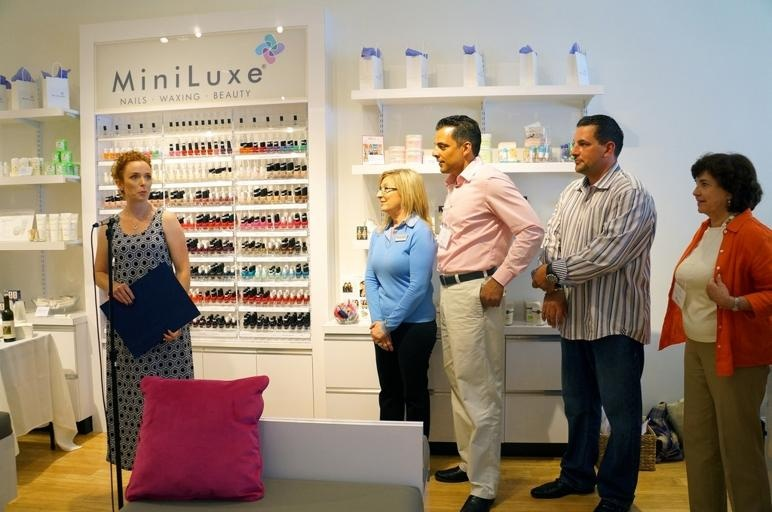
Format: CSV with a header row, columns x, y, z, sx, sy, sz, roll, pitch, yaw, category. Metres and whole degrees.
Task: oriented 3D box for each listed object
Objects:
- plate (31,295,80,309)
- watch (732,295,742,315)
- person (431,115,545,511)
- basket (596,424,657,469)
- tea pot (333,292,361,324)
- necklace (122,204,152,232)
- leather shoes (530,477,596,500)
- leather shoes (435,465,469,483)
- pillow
x,y,z,sx,sy,sz,roll,pitch,yaw,category
-3.061,0.433,6.152,0.343,0.117,0.245,-4,2,-31,plate
2.266,0.302,4.265,0.075,0.085,0.030,-3,2,-6,watch
0.776,0.573,4.910,0.727,2.605,0.413,-3,1,4,person
2.054,1.545,5.535,0.358,0.232,0.535,-2,-6,8,basket
-0.325,0.444,5.738,0.245,0.238,0.249,-2,-6,0,tea pot
-1.770,-0.271,4.699,0.173,0.222,0.125,2,-11,-8,necklace
1.333,1.769,5.127,0.520,0.221,0.178,1,-9,0,leather shoes
0.522,1.739,5.295,0.295,0.117,0.109,4,-3,-1,leather shoes
-1.150,1.138,4.108,0.880,0.806,0.317,0,-17,4,pillow
